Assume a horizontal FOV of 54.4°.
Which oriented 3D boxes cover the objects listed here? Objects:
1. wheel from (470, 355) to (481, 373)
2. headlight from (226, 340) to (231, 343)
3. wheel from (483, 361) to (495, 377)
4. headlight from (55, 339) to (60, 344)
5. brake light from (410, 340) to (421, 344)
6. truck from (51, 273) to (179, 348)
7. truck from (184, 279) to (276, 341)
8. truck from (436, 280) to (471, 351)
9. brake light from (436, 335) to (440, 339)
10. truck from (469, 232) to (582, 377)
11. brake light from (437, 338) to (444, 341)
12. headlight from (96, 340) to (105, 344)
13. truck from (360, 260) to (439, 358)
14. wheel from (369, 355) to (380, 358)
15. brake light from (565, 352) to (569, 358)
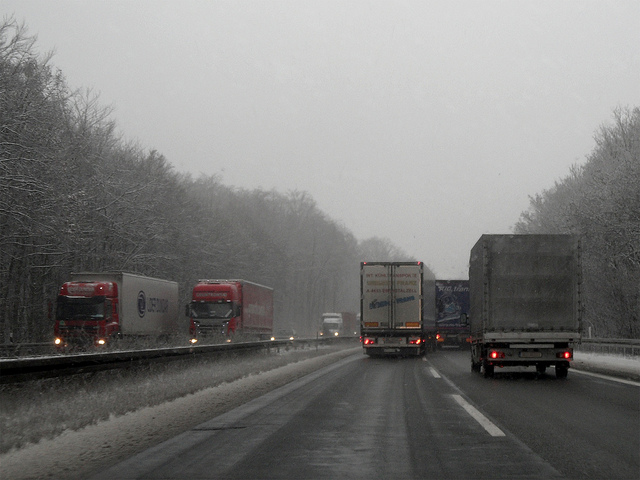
[{"bbox_3d":[5.840,4.611,23.265,0.346,0.620,1.048,-2,-11,14],"label":"wheel"},{"bbox_3d":[-5.288,5.881,36.303,0.157,0.125,0.395,-9,-14,37],"label":"headlight"},{"bbox_3d":[5.519,4.252,20.320,0.306,0.538,0.659,1,-6,7],"label":"wheel"},{"bbox_3d":[-12.441,4.817,29.553,0.307,0.209,0.068,-8,-11,34],"label":"headlight"},{"bbox_3d":[4.701,5.009,30.633,0.489,0.189,0.072,-3,-9,11],"label":"brake light"},{"bbox_3d":[-10.455,3.998,33.792,2.641,4.276,8.985,-2,-7,11],"label":"truck"},{"bbox_3d":[-5.379,5.045,41.432,2.607,4.359,9.563,-2,-9,11],"label":"truck"},{"bbox_3d":[9.135,5.217,42.459,2.147,4.937,4.520,-1,-4,6],"label":"truck"},{"bbox_3d":[8.178,6.683,42.884,0.207,0.317,0.718,-3,-14,10],"label":"brake light"},{"bbox_3d":[7.519,2.230,23.046,2.686,4.827,6.838,-1,1,14],"label":"truck"},{"bbox_3d":[8.508,6.955,43.625,0.188,0.191,0.721,-8,-14,38],"label":"brake light"},{"bbox_3d":[-10.368,4.823,29.494,0.368,0.178,0.096,6,-10,-28],"label":"headlight"},{"bbox_3d":[4.521,2.957,34.732,2.604,4.933,8.808,0,6,12],"label":"truck"},{"bbox_3d":[2.931,6.173,33.091,0.483,0.181,1.743,-2,-12,6],"label":"wheel"},{"bbox_3d":[7.751,3.602,19.516,0.127,0.155,0.025,0,-8,-4],"label":"brake light"}]
